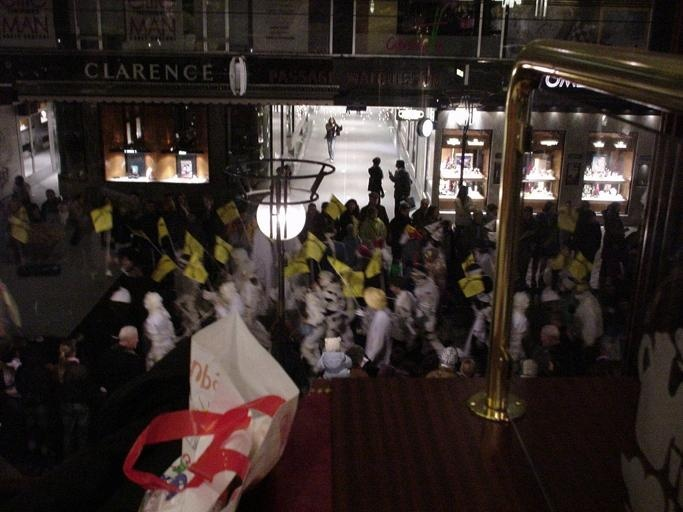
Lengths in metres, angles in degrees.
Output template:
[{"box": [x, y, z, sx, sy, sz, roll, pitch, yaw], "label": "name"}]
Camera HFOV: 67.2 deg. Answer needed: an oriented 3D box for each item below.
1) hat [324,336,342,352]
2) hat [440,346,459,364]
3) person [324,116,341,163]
[{"box": [-0.087, 0.888, 5.144, 0.150, 0.184, 0.170, 4, 30, 4], "label": "hat"}, {"box": [1.111, 1.051, 5.315, 0.121, 0.157, 0.172, 7, 39, 14], "label": "hat"}, {"box": [-0.151, -2.326, 10.049, 0.328, 0.812, 0.257, -1, -3, -8], "label": "person"}]
